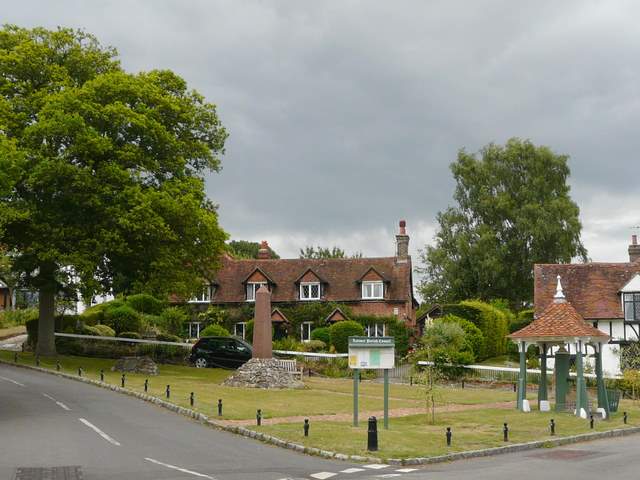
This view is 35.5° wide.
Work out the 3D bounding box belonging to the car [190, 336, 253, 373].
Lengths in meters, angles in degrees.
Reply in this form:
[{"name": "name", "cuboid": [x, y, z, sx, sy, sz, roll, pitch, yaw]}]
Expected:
[{"name": "car", "cuboid": [-6.533, 7.252, 64.245, 3.270, 1.549, 2.053, -3, -4, 16]}]
